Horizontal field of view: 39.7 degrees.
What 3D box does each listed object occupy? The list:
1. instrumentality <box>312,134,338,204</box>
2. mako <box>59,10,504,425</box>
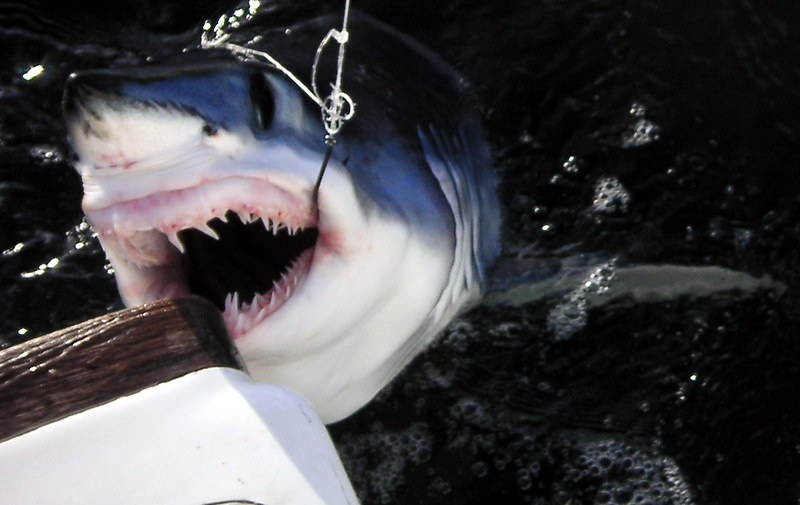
[{"bbox_3d":[-0.186,-0.199,2.662,0.058,0.165,0.056,16,-1,1],"label":"instrumentality"},{"bbox_3d":[-0.187,-0.176,2.973,0.919,0.707,1.111,5,19,19],"label":"mako"}]
